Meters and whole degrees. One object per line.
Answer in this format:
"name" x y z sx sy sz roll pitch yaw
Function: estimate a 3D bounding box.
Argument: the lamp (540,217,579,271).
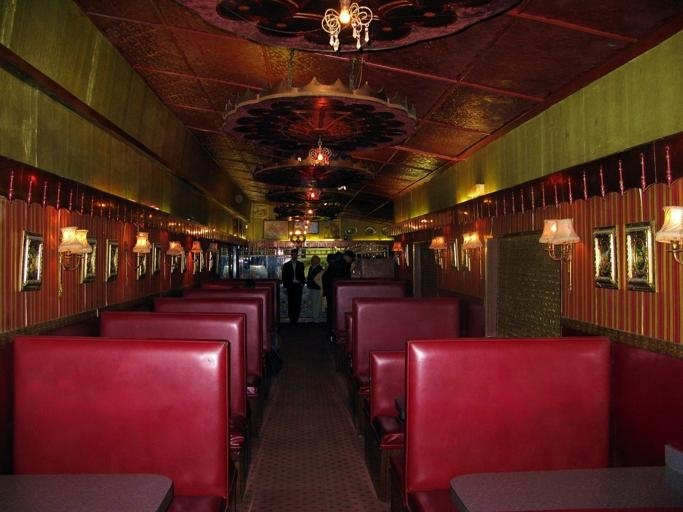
"lamp" 2.708 -0.143 6.660 0.376 0.738 0.590 6 -9 -1

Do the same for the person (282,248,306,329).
"person" -1.314 0.865 14.862 0.620 2.092 0.976 1 3 -6

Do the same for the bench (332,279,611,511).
"bench" 1.145 1.175 4.365 1.998 1.461 1.088 0 -6 -6
